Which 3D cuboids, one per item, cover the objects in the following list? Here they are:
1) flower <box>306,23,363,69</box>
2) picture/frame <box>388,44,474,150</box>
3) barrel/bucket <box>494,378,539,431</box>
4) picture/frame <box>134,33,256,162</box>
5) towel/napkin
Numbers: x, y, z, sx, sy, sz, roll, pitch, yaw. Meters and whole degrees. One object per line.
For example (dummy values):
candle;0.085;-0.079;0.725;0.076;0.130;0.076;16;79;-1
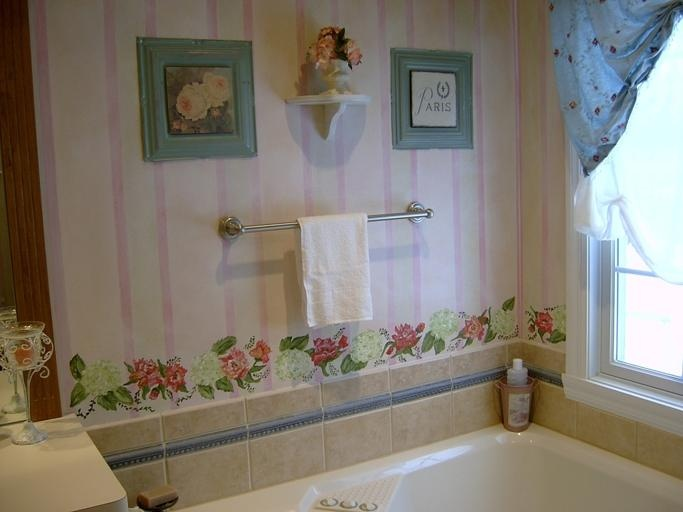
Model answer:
flower;-0.021;-0.801;2.225;0.223;0.154;0.229;-4;32;-26
picture/frame;0.379;-0.716;2.503;0.447;0.496;0.034;-1;2;-30
barrel/bucket;0.848;0.702;2.729;0.184;0.242;0.145;-2;11;6
picture/frame;-0.568;-0.607;2.119;0.439;0.495;0.034;-4;7;-21
towel/napkin;-0.039;0.052;2.249;0.383;0.610;0.109;-5;2;-26
